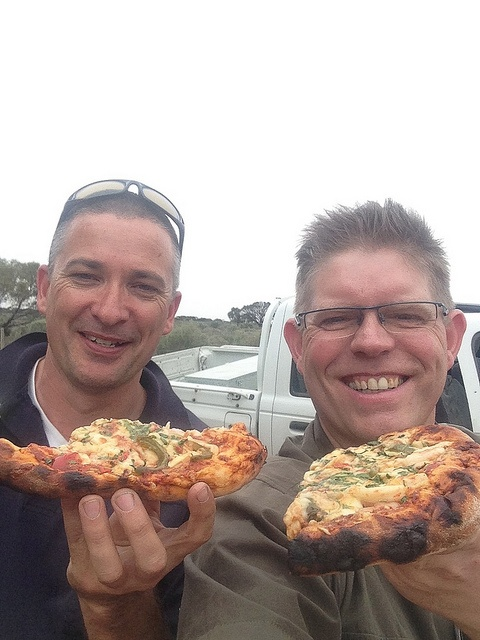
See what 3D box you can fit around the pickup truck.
[{"bbox_3d":[0.904,0.597,6.129,3.284,1.392,1.970,-3,0,42],"label":"pickup truck"}]
